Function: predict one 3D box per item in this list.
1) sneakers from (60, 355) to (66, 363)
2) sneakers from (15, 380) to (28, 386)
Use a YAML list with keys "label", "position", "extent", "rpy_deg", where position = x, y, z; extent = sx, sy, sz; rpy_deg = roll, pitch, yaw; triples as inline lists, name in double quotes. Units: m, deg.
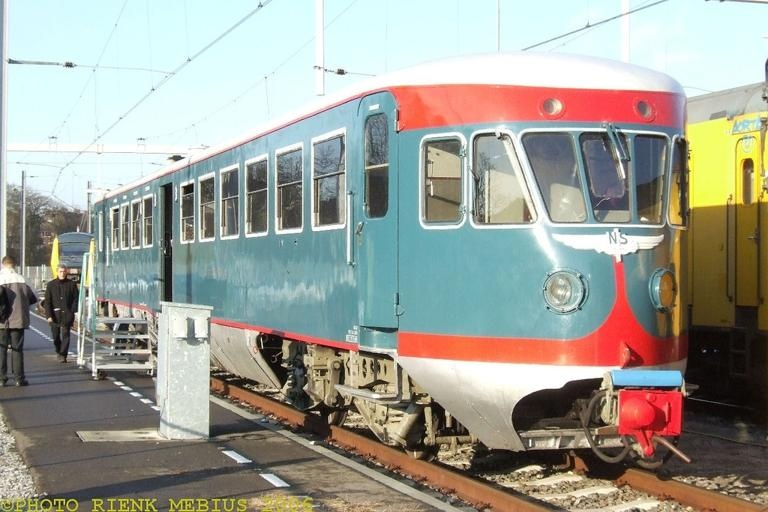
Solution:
- label: "sneakers"
  position: [-8.376, 2.689, 18.307]
  extent: [0.151, 0.199, 0.204]
  rpy_deg: [2, -4, -27]
- label: "sneakers"
  position: [-7.609, 2.664, 14.701]
  extent: [0.110, 0.107, 0.205]
  rpy_deg: [2, -8, -37]
